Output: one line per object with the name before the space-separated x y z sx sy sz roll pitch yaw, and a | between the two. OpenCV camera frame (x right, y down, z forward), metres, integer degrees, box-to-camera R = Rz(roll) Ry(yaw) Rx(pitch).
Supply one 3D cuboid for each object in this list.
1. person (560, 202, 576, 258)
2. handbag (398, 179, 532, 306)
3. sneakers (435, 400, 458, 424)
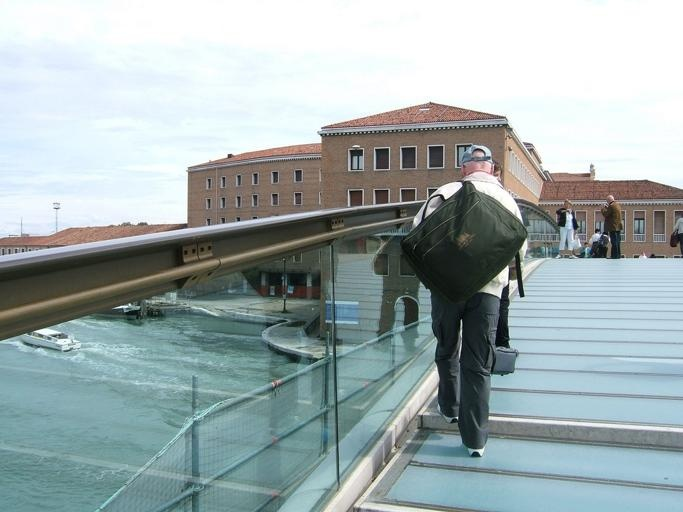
person | 7.441 -0.981 18.230 0.510 1.478 1.097 2 3 21
handbag | 0.598 -0.133 3.128 0.207 0.673 0.665 48 -10 30
sneakers | 0.645 0.965 3.478 0.061 0.166 0.074 -43 -18 16
